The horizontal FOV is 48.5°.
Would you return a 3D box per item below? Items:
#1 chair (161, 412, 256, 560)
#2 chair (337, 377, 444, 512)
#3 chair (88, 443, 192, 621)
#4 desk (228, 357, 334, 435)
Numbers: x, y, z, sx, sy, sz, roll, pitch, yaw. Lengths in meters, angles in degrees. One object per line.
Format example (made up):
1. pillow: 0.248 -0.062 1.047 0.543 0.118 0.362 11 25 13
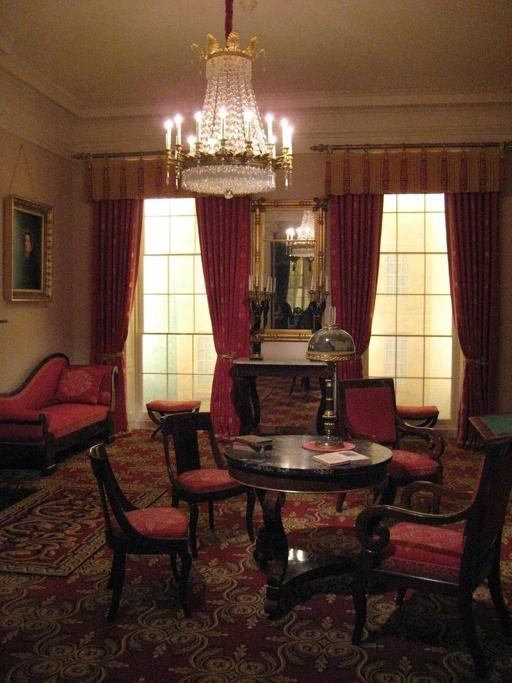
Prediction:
1. chair: -0.280 0.824 3.466 0.502 0.723 0.536 -1 3 -17
2. chair: 0.972 0.762 4.118 0.652 0.889 0.691 0 4 -10
3. chair: -0.545 0.852 2.722 0.452 0.755 0.531 0 2 -8
4. desk: 0.316 0.569 5.958 1.000 0.710 0.601 0 -1 12
